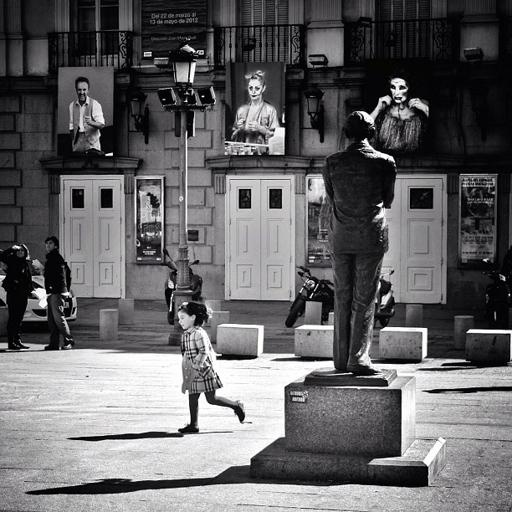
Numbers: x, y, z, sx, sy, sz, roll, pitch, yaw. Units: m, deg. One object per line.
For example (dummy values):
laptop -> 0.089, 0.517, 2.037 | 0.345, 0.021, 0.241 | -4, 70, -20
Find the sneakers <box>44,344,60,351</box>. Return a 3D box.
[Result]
sneakers -> -3.218, 1.448, 22.848 | 0.259, 0.192, 0.090 | 4, 2, 8

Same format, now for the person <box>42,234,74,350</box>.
person -> -3.112, 0.585, 22.773 | 0.419, 1.818, 0.579 | 0, 3, -1

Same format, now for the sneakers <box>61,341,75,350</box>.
sneakers -> -2.976, 1.441, 23.050 | 0.083, 0.111, 0.252 | 0, -6, 7

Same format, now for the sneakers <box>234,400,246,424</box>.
sneakers -> -0.197, 1.856, 17.139 | 0.099, 0.307, 0.121 | -4, 13, 45

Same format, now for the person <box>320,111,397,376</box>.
person -> 1.098, -0.155, 15.829 | 0.754, 2.880, 0.542 | 0, 3, 14

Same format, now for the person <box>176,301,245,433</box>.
person -> -0.569, 1.316, 16.995 | 0.683, 1.548, 0.399 | 0, 3, -4

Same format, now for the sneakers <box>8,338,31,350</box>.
sneakers -> -3.730, 1.418, 22.861 | 0.377, 0.159, 0.130 | 0, 1, -16

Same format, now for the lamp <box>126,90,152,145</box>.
lamp -> -2.507, -3.068, 31.112 | 0.442, 1.180, 1.103 | 0, 3, -5

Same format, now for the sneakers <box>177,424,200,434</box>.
sneakers -> -0.792, 2.047, 16.997 | 0.262, 0.121, 0.093 | 2, 3, 8

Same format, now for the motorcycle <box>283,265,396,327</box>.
motorcycle -> 1.588, 0.794, 25.697 | 1.700, 1.007, 1.077 | 9, 3, -23
